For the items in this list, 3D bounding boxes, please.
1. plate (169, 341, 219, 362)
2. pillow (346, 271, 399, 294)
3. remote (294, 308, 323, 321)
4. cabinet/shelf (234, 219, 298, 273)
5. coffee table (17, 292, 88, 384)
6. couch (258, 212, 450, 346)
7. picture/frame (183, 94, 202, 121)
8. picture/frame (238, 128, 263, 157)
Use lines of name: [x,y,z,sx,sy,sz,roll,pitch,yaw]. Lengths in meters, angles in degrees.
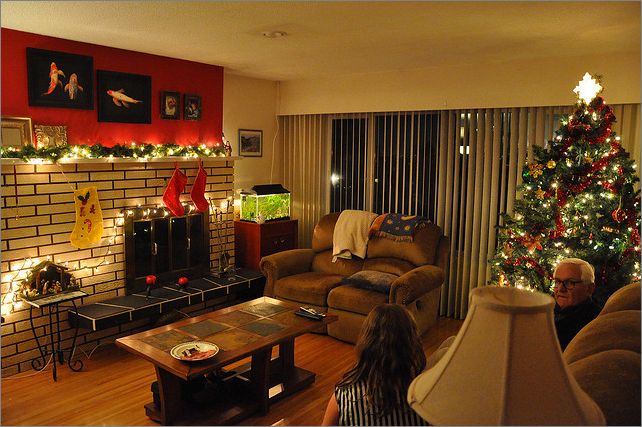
plate: [-0.980,1.091,3.617,0.342,0.068,0.316,2,7,39]
pillow: [0.547,0.773,5.254,0.651,0.187,0.310,1,6,30]
remote: [-0.096,0.962,4.326,0.166,0.043,0.128,10,6,26]
cabinet/shelf: [-0.773,0.445,6.590,0.533,0.712,0.738,9,11,39]
coffee table: [-2.587,1.193,4.570,0.494,0.787,0.447,-7,8,-40]
couch: [0.404,0.699,5.675,2.098,1.210,1.296,4,10,35]
picture/frame: [-1.592,-1.313,5.672,0.062,0.368,0.339,9,11,39]
picture/frame: [-1.028,-1.025,6.726,0.024,0.389,0.469,11,13,36]
